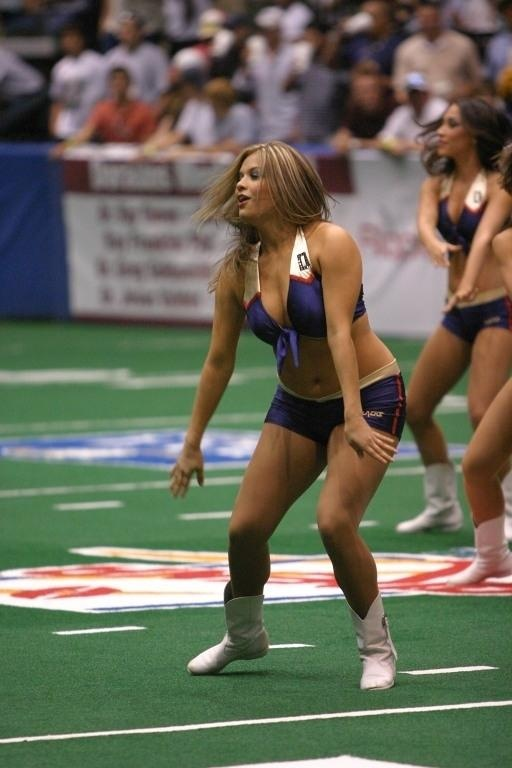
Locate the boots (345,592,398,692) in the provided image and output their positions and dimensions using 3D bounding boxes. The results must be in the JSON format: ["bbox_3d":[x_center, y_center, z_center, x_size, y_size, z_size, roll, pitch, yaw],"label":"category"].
[{"bbox_3d":[0.377,0.835,2.650,0.153,0.323,0.157,2,14,5],"label":"boots"}]

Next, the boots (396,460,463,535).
[{"bbox_3d":[1.269,0.832,5.751,0.229,0.427,0.485,8,-12,-18],"label":"boots"}]

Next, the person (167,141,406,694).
[{"bbox_3d":[0.150,0.158,2.845,0.885,1.924,0.700,7,16,22],"label":"person"}]
